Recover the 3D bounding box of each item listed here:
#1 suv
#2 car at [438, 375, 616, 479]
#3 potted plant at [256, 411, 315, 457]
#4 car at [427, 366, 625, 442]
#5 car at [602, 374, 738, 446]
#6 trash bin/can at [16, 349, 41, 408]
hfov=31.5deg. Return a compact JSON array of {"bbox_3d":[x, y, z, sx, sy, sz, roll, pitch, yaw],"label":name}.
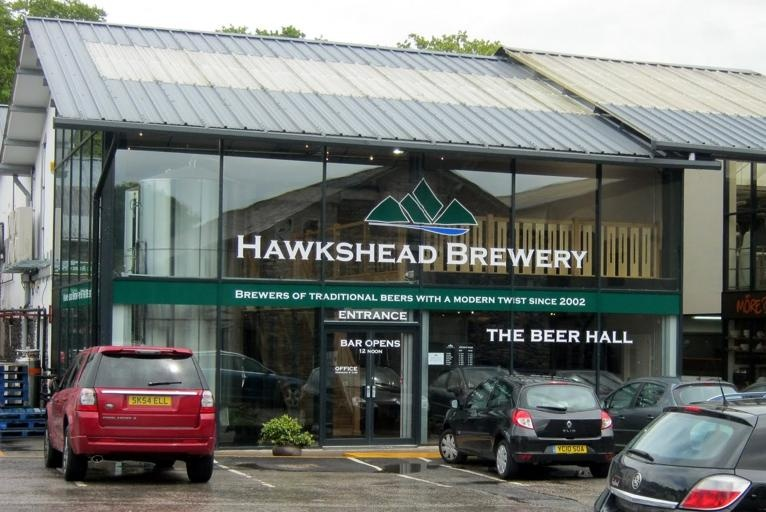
[{"bbox_3d":[-5.430,3.403,29.384,3.590,2.922,1.717,0,-8,0],"label":"suv"},{"bbox_3d":[3.282,3.948,31.737,3.730,2.357,1.764,-7,-11,43],"label":"car"},{"bbox_3d":[-2.399,4.471,34.071,1.111,0.721,1.058,1,-6,3],"label":"potted plant"},{"bbox_3d":[3.680,3.848,35.678,4.757,1.497,2.074,-1,-1,-20],"label":"car"},{"bbox_3d":[6.678,3.508,32.974,1.929,1.400,3.038,0,-2,-26],"label":"car"},{"bbox_3d":[-10.384,3.637,40.508,0.796,1.727,0.785,0,6,13],"label":"trash bin/can"}]
